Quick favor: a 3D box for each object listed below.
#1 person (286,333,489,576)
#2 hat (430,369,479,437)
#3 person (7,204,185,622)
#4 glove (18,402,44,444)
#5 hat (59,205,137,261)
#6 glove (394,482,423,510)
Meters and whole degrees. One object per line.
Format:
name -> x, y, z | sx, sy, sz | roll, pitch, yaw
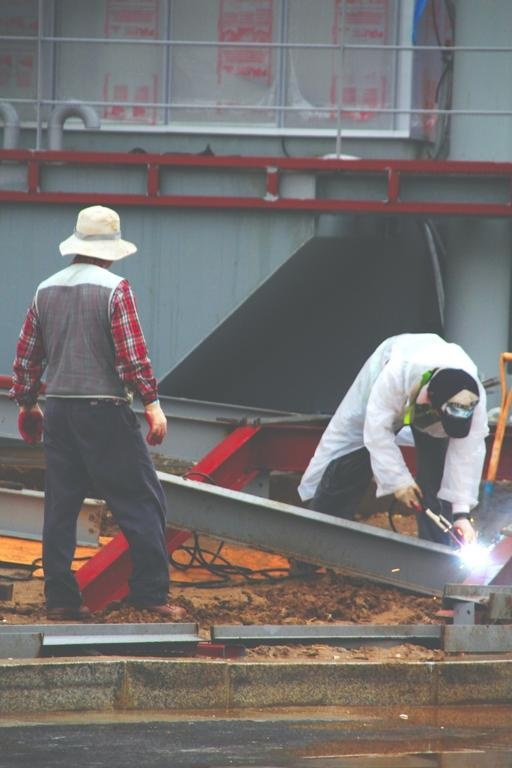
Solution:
person -> 0.767, 0.471, 12.427 | 0.835, 1.169, 1.851 | -3, -20, -14
hat -> 1.093, 0.137, 11.896 | 0.295, 0.396, 0.188 | 8, 11, -2
person -> -0.839, 0.220, 11.504 | 1.054, 2.243, 0.478 | 14, 13, 27
glove -> -1.260, 0.248, 11.829 | 0.141, 0.207, 0.068 | -8, 15, -21
hat -> -0.850, -0.803, 11.572 | 0.319, 0.191, 0.329 | 5, 14, -7
glove -> 0.874, 0.661, 12.143 | 0.149, 0.180, 0.363 | 9, 12, 5
